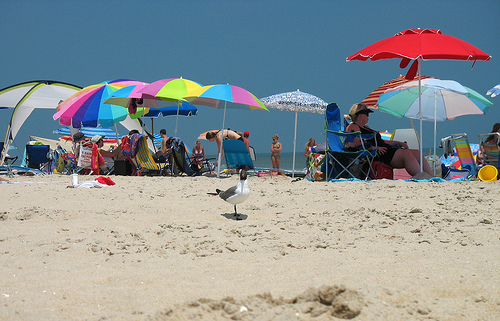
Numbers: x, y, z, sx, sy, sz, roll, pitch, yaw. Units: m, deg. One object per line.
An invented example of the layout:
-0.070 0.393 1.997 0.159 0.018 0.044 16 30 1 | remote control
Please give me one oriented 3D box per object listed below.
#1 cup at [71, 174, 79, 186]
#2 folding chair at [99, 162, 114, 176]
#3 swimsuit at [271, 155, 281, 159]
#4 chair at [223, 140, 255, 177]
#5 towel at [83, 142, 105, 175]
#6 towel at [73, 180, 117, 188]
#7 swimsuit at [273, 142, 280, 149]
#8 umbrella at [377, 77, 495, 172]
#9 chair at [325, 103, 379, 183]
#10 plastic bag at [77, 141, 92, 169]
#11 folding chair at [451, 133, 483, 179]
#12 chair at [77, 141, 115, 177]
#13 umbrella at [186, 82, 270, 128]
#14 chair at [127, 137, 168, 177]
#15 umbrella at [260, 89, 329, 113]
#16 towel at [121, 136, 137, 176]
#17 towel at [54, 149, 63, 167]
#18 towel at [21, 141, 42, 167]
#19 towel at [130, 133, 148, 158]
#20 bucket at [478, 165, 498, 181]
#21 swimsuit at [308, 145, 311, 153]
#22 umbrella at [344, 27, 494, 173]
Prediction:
-3.400 0.413 13.666 0.129 0.212 0.374 -4 14 -16 | cup
-3.558 0.235 17.381 0.211 0.390 0.349 10 19 17 | folding chair
0.760 -0.093 20.789 0.221 0.121 0.363 0 13 -1 | swimsuit
-0.258 -0.129 16.344 0.661 0.676 0.962 8 6 10 | chair
-3.808 0.001 17.017 0.298 0.871 0.661 9 -12 -43 | towel
-3.036 0.495 13.690 0.789 0.110 0.457 -3 14 -14 | towel
0.792 -0.415 20.445 0.185 0.187 0.101 1 -5 6 | swimsuit
3.904 -0.683 14.878 1.897 1.738 2.033 1 -6 21 | umbrella
2.024 -0.261 14.918 0.959 1.698 1.102 2 2 14 | chair
-3.973 -0.107 16.923 0.594 0.768 0.074 4 -6 -41 | plastic bag
4.559 -0.020 14.771 0.378 0.916 0.647 -1 -4 0 | folding chair
-3.745 -0.006 17.132 0.569 0.941 0.729 4 33 -10 | chair
-0.643 -1.441 17.192 1.565 1.034 1.621 -2 4 36 | umbrella
-2.550 -0.033 17.213 1.147 0.937 0.962 -1 -3 -17 | chair
1.224 -1.589 18.245 1.703 0.620 1.713 5 1 38 | umbrella
-2.969 -0.134 16.909 0.221 0.800 0.599 1 13 -7 | towel
-6.087 -0.099 22.103 0.441 0.618 0.139 3 2 -14 | towel
-6.509 -0.105 20.992 0.531 0.499 0.871 6 40 -17 | towel
-2.726 -0.344 16.813 0.385 0.522 0.211 9 8 -5 | towel
4.784 0.268 14.077 0.357 0.258 0.249 6 14 22 | bucket
1.590 -0.241 18.669 0.098 0.139 0.074 -1 0 -12 | swimsuit
3.366 -1.292 14.281 2.249 2.881 3.724 -1 13 -4 | umbrella
